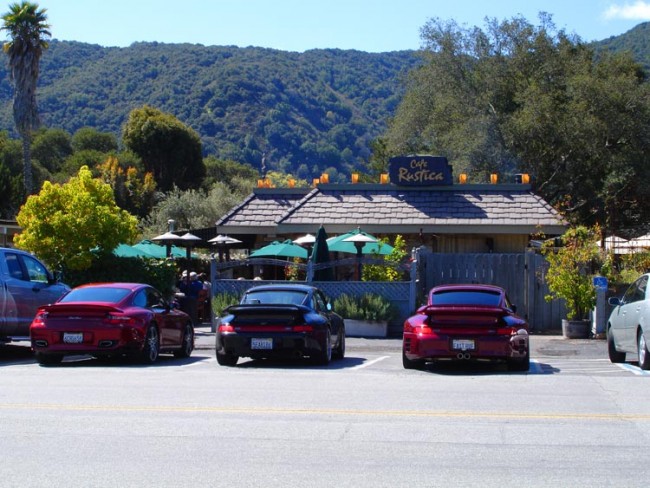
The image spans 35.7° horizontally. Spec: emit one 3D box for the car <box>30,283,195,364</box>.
[{"bbox_3d":[-4.885,2.031,23.170,3.556,2.059,1.820,-4,11,-23],"label":"car"}]
